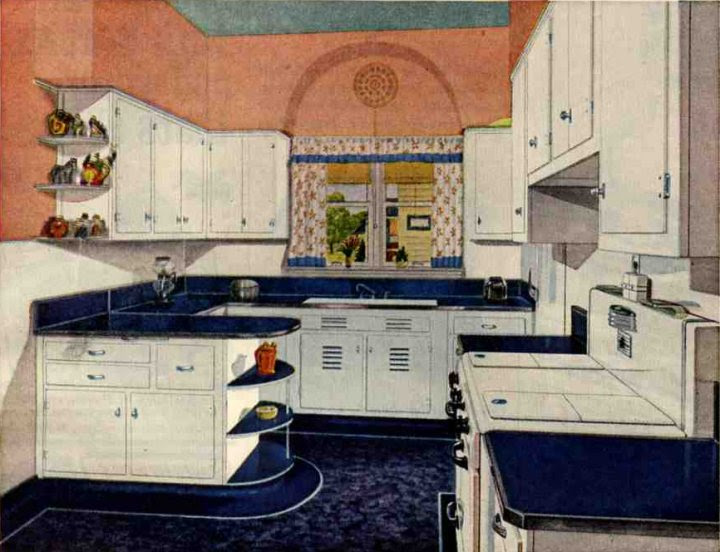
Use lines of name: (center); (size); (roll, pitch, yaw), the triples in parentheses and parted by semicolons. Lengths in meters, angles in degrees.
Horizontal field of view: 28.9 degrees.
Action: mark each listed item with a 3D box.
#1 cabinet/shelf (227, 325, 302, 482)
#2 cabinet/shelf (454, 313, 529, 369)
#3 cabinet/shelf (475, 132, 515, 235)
cabinet/shelf: (-0.599, 0.817, 8.550); (0.258, 0.902, 0.817); (0, 0, 1)
cabinet/shelf: (0.779, 0.446, 8.476); (0.483, 0.338, 1.531); (0, 2, 5)
cabinet/shelf: (0.903, -0.609, 9.535); (0.280, 0.969, 0.103); (-2, -36, 6)
